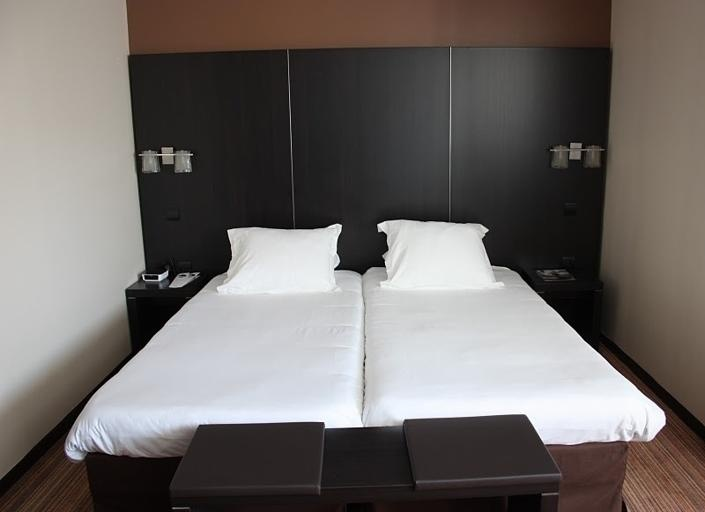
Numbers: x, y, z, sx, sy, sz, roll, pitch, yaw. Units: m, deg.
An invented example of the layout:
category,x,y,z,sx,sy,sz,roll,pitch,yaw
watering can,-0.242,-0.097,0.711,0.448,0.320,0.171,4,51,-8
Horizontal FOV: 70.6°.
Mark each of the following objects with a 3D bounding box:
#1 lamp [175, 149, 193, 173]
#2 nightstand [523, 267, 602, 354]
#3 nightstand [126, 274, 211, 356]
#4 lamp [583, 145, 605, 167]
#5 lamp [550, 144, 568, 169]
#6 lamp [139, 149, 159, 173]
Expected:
category,x,y,z,sx,sy,sz,roll,pitch,yaw
lamp,-1.362,-0.754,4.026,0.155,0.234,0.164,1,5,-7
nightstand,1.678,0.426,4.160,0.530,0.835,0.598,-1,12,0
nightstand,-1.546,0.421,4.153,0.589,0.939,0.600,-1,12,-2
lamp,1.945,-0.796,3.998,0.186,0.178,0.085,-4,14,-6
lamp,1.640,-0.798,3.975,0.159,0.238,0.121,-1,10,2
lamp,-1.635,-0.763,4.023,0.163,0.215,0.170,-1,14,-5
